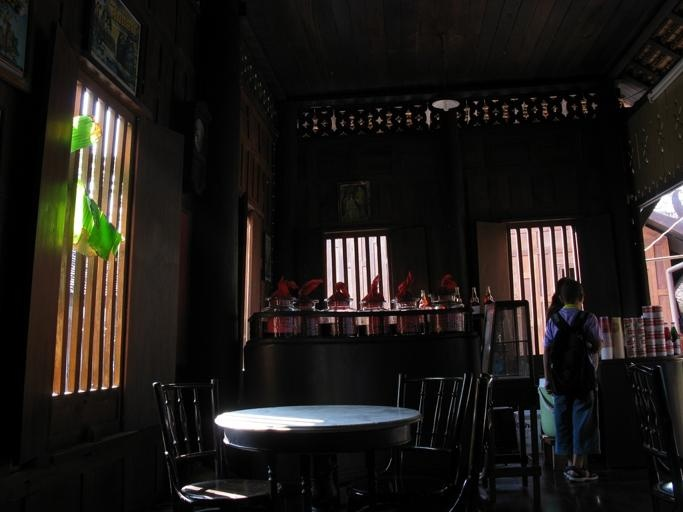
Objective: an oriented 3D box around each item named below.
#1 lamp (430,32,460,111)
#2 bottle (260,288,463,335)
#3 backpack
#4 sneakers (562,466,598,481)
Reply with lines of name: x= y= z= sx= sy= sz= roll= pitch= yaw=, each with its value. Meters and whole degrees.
lamp: x=1.412 y=-2.318 z=8.060 sx=0.338 sy=1.141 sz=1.796 roll=-3 pitch=-8 yaw=10
bottle: x=0.151 y=0.569 z=5.090 sx=1.909 sy=0.235 sz=0.180 roll=-2 pitch=-8 yaw=1
backpack: x=2.224 y=0.934 z=5.541 sx=0.431 sy=0.857 sz=0.434 roll=-12 pitch=-26 yaw=38
sneakers: x=2.215 y=2.014 z=5.479 sx=0.296 sy=0.146 sz=0.127 roll=1 pitch=-11 yaw=-7
